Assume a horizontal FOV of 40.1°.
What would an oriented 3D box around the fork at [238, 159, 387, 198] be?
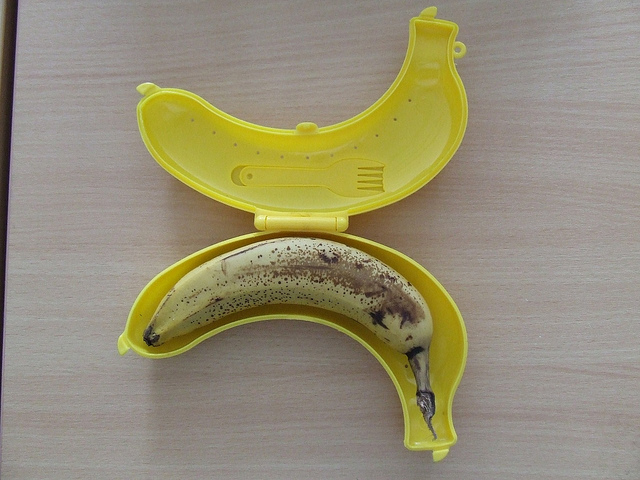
[{"bbox_3d":[-0.021,-0.136,1.887,0.355,0.015,0.073,3,102,29],"label":"fork"}]
